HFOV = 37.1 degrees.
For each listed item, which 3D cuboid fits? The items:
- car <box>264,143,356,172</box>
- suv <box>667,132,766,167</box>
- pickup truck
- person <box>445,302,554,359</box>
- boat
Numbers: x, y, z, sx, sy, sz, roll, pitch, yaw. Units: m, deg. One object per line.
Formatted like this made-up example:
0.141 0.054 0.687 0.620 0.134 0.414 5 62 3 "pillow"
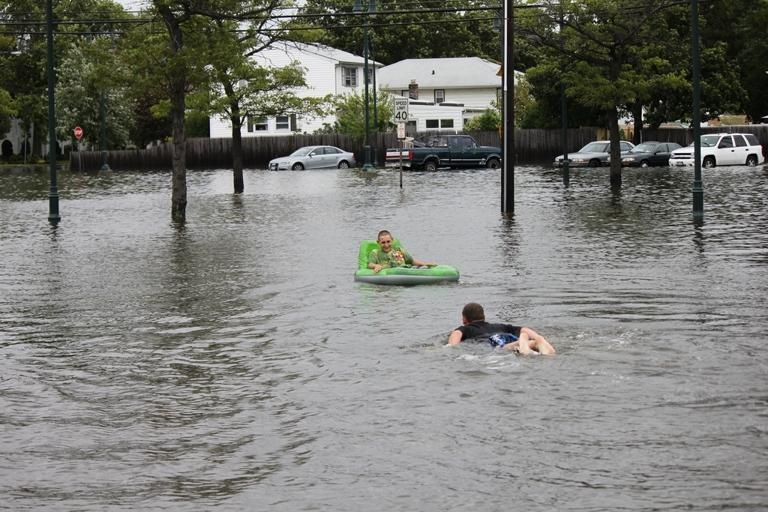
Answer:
-4.079 -5.369 63.721 4.525 1.258 1.732 -3 5 -6 "car"
16.875 -5.119 57.523 4.241 1.528 2.169 -1 3 -27 "suv"
2.989 -5.248 59.435 5.956 1.670 2.634 -3 6 -17 "pickup truck"
1.995 1.377 19.941 1.654 0.895 2.331 0 0 -35 "person"
0.454 0.187 24.972 2.284 0.921 0.735 -1 5 13 "boat"
